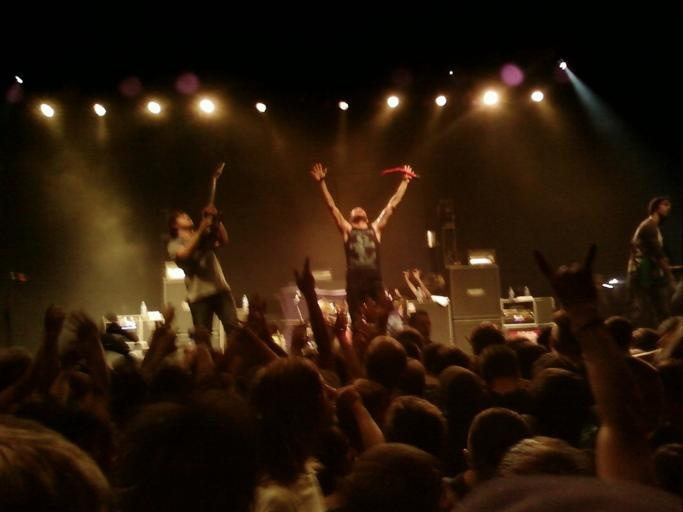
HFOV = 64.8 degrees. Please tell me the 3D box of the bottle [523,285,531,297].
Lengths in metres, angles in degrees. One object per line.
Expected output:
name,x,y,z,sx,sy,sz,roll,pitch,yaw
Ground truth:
bottle,3.095,0.620,8.955,0.106,0.046,0.438,-4,-25,19
